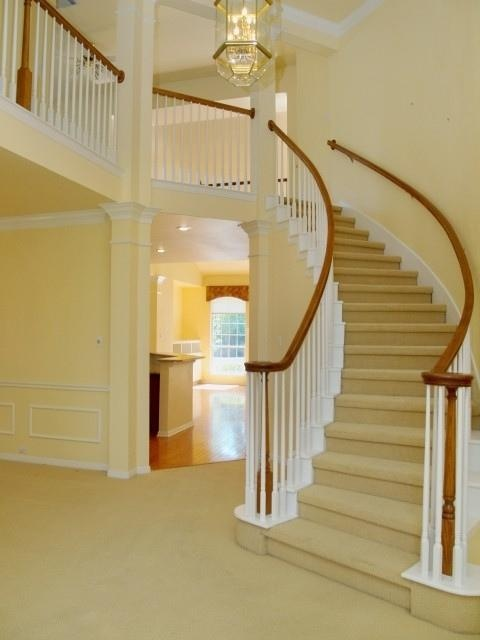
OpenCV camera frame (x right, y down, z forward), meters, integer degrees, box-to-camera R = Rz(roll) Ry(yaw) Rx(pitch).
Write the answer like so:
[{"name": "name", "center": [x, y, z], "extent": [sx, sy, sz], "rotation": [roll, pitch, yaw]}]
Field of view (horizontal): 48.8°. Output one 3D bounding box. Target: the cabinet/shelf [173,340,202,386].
[{"name": "cabinet/shelf", "center": [-0.968, 0.769, 9.576], "extent": [0.279, 1.069, 0.912], "rotation": [0, 3, 12]}]
